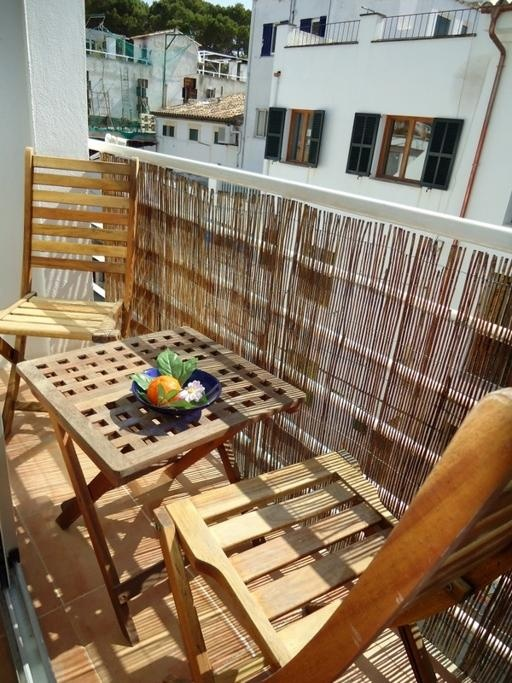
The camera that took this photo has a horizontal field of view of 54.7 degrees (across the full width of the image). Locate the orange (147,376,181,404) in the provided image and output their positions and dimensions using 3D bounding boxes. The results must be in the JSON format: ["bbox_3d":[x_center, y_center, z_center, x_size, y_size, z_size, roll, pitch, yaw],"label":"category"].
[{"bbox_3d":[-0.241,0.125,1.324,0.079,0.071,0.076,-3,7,2],"label":"orange"}]

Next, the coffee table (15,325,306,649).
[{"bbox_3d":[-0.275,0.254,1.787,0.923,0.846,0.917,-19,41,-38],"label":"coffee table"}]
